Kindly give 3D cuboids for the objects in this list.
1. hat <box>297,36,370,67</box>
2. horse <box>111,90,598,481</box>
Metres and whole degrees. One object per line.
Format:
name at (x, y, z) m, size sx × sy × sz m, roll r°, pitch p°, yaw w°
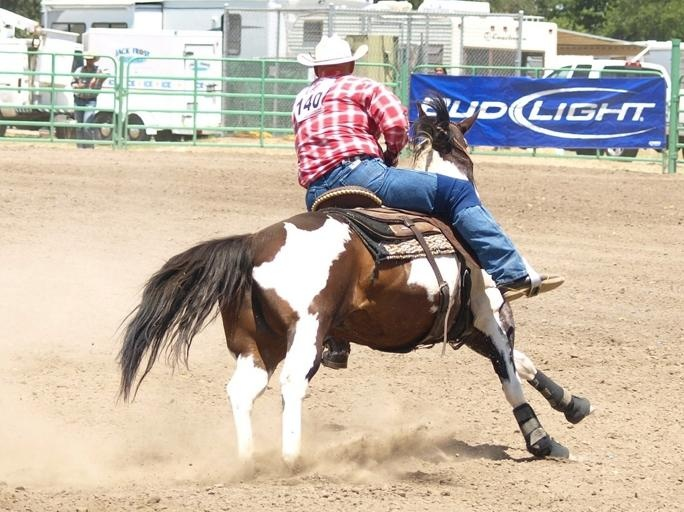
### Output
hat at (-0.059, -1.681, 8.264) m, size 0.557 × 0.134 × 0.432 m, roll -5°, pitch 8°, yaw 3°
horse at (-0.057, 0.552, 7.831) m, size 3.043 × 1.917 × 1.022 m, roll 0°, pitch 12°, yaw -24°
